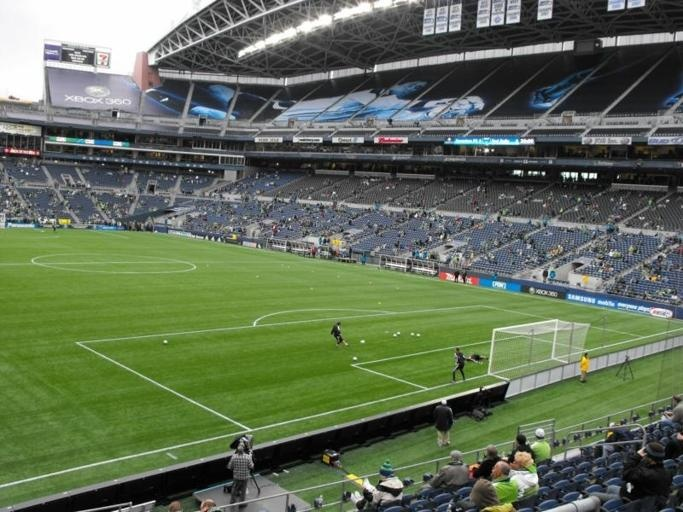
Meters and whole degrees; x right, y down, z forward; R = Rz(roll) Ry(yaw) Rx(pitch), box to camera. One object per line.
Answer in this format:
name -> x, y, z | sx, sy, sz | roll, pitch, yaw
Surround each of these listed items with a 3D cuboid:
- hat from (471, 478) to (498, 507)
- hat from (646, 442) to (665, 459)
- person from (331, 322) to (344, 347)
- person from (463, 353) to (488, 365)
hat -> 3.261, 5.371, 13.564 | 0.542, 0.612, 0.573 | -4, 4, -13
hat -> 6.859, 4.254, 13.109 | 0.470, 0.157, 0.392 | 0, 8, -43
person -> -0.187, 4.078, 31.902 | 0.672, 1.199, 1.679 | -4, 4, -1
person -> 6.781, 5.109, 30.184 | 0.913, 0.405, 1.175 | -2, -16, 34
